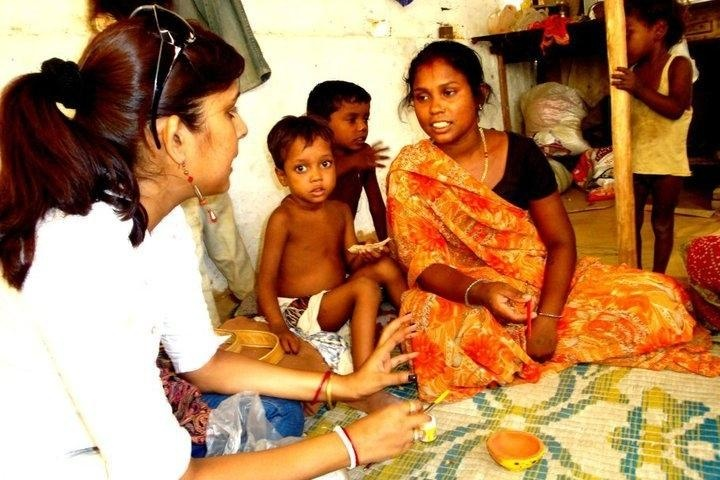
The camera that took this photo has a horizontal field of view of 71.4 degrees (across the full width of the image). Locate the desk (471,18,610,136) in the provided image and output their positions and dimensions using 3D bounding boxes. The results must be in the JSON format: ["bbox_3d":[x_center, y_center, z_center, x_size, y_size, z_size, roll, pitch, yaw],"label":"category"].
[{"bbox_3d":[2.536,-2.008,6.403,1.581,1.155,1.471,-14,14,-27],"label":"desk"}]
